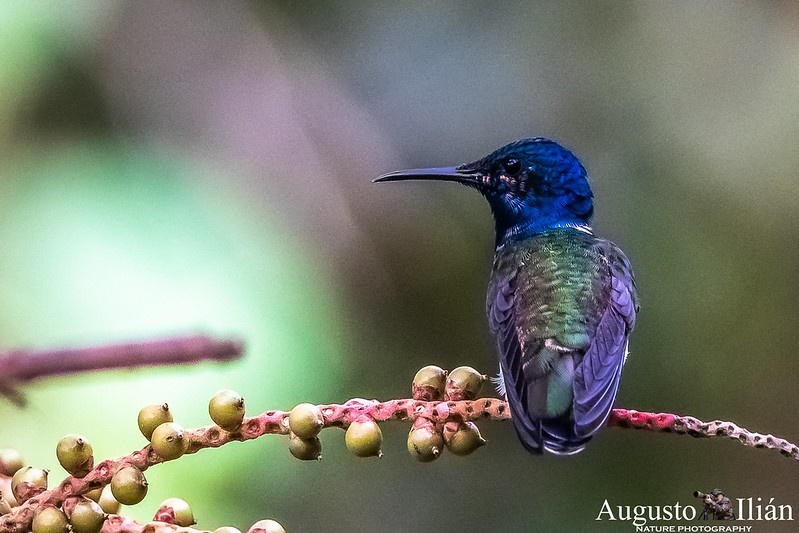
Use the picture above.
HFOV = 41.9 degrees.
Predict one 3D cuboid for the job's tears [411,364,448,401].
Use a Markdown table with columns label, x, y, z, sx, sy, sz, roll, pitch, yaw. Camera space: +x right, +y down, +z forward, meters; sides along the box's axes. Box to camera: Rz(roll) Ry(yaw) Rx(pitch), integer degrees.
| label | x | y | z | sx | sy | sz | roll | pitch | yaw |
| --- | --- | --- | --- | --- | --- | --- | --- | --- | --- |
| job's tears | 0.059 | 0.260 | 2.297 | 0.077 | 0.091 | 0.066 | 2 | -17 | -17 |

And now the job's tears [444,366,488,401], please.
| label | x | y | z | sx | sy | sz | roll | pitch | yaw |
| --- | --- | --- | --- | --- | --- | --- | --- | --- | --- |
| job's tears | 0.139 | 0.261 | 2.271 | 0.077 | 0.064 | 0.061 | -6 | 10 | 2 |

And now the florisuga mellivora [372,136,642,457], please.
| label | x | y | z | sx | sy | sz | roll | pitch | yaw |
| --- | --- | --- | --- | --- | --- | --- | --- | --- | --- |
| florisuga mellivora | 0.315 | 0.161 | 2.907 | 0.490 | 1.010 | 0.639 | -26 | -49 | 26 |

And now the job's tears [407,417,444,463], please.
| label | x | y | z | sx | sy | sz | roll | pitch | yaw |
| --- | --- | --- | --- | --- | --- | --- | --- | --- | --- |
| job's tears | 0.057 | 0.373 | 2.232 | 0.080 | 0.113 | 0.085 | -8 | -24 | 1 |
